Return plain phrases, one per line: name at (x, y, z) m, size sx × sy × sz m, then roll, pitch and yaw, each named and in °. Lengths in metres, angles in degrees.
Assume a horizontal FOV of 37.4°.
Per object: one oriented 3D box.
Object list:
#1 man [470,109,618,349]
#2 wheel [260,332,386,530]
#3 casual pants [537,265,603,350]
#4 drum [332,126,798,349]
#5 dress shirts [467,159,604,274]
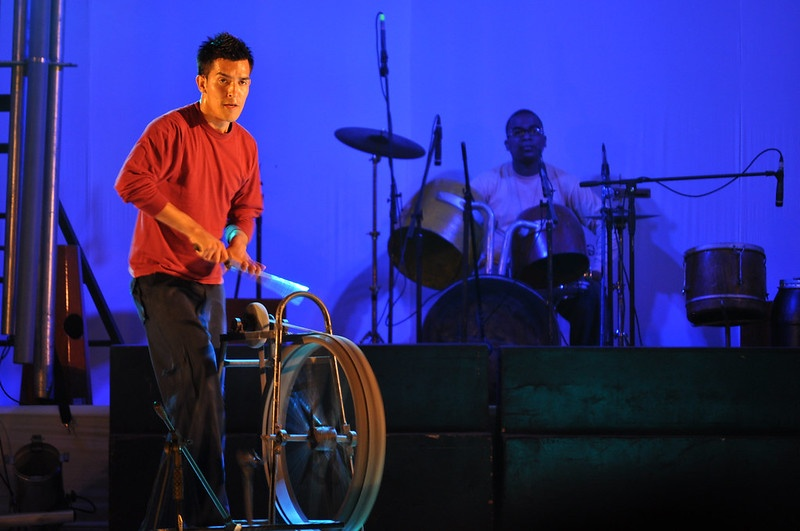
man at (1.027, -0.304, 10.059) m, size 1.674 × 2.114 × 1.098 m, roll 6°, pitch -20°, yaw -10°
wheel at (-0.470, 0.978, 6.894) m, size 1.300 × 1.204 × 0.184 m, roll 3°, pitch 4°, yaw 37°
casual pants at (1.468, 0.347, 9.715) m, size 0.380 × 0.618 × 0.628 m, roll -1°, pitch -5°, yaw 10°
drum at (0.728, -0.320, 9.667) m, size 2.514 × 1.945 × 1.314 m, roll 0°, pitch -4°, yaw -4°
dress shirts at (1.020, -0.464, 10.486) m, size 1.804 × 0.928 × 0.497 m, roll -1°, pitch 18°, yaw -10°
